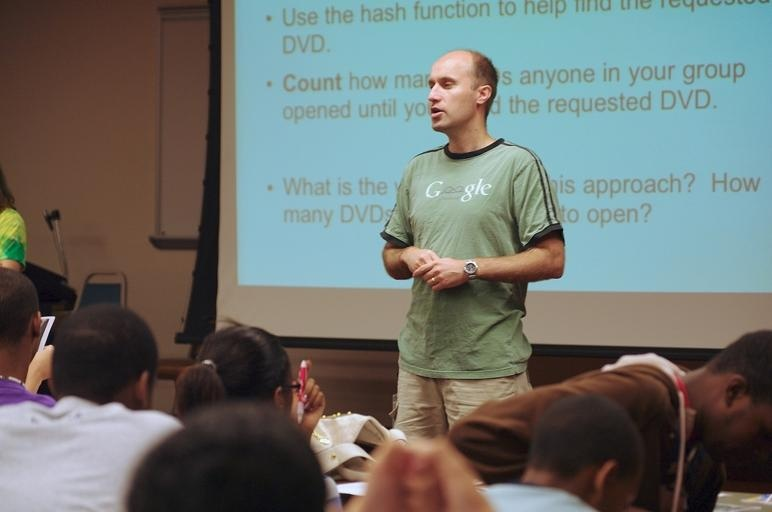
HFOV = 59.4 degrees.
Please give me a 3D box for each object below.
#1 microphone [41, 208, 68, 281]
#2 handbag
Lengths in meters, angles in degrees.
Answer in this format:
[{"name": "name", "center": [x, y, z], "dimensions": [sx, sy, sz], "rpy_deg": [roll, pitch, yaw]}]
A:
[{"name": "microphone", "center": [-2.550, -0.069, 5.219], "dimensions": [0.157, 0.480, 0.276], "rpy_deg": [-22, 23, -40]}, {"name": "handbag", "center": [-0.116, 0.677, 2.275], "dimensions": [0.276, 0.128, 0.297], "rpy_deg": [7, 41, -17]}]
